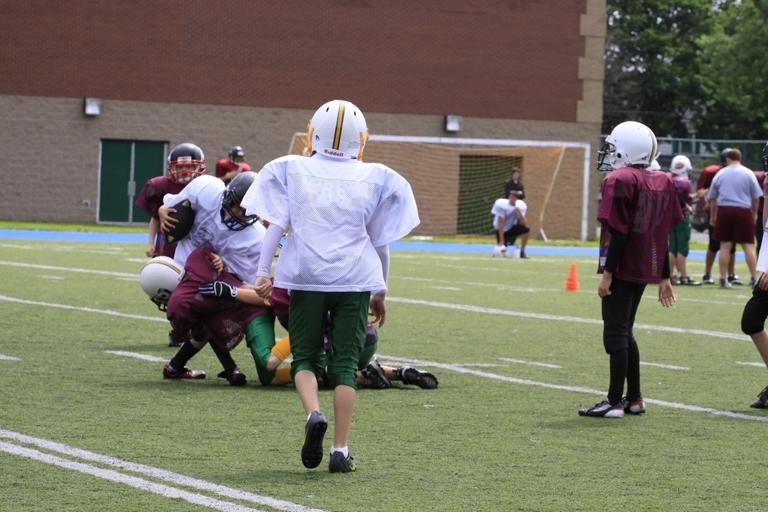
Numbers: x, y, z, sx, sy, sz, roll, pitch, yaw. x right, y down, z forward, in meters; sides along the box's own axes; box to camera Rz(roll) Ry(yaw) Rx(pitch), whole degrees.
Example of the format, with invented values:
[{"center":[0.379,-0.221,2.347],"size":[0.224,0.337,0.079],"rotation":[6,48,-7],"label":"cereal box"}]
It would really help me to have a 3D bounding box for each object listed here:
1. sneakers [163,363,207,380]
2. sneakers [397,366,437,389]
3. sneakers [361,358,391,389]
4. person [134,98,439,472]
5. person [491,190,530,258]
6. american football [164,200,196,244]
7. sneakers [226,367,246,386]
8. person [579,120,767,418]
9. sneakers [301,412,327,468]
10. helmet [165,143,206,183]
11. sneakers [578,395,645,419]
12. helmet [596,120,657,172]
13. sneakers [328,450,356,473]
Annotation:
[{"center":[-2.025,1.179,12.088],"size":[0.484,0.177,0.162],"rotation":[0,5,-19],"label":"sneakers"},{"center":[0.339,1.236,11.889],"size":[0.456,0.204,0.169],"rotation":[10,39,-4],"label":"sneakers"},{"center":[-0.092,1.228,11.866],"size":[0.148,0.197,0.440],"rotation":[0,3,34],"label":"sneakers"},{"center":[-0.420,0.234,10.153],"size":[1.189,3.070,1.045],"rotation":[-7,13,-37],"label":"person"},{"center":[2.940,-0.758,27.275],"size":[0.970,1.528,0.865],"rotation":[3,8,11],"label":"person"},{"center":[-2.106,-0.327,12.331],"size":[0.254,0.399,0.282],"rotation":[33,10,-37],"label":"american football"},{"center":[-1.485,1.233,11.873],"size":[0.122,0.147,0.218],"rotation":[-42,-14,-19],"label":"sneakers"},{"center":[2.355,0.131,11.348],"size":[0.708,2.773,1.001],"rotation":[8,12,30],"label":"person"},{"center":[-0.580,1.553,9.843],"size":[0.202,0.552,0.239],"rotation":[1,11,-2],"label":"sneakers"},{"center":[-2.260,-1.100,13.412],"size":[0.451,0.403,0.546],"rotation":[-1,0,-16],"label":"helmet"},{"center":[2.189,1.456,11.303],"size":[0.668,0.236,0.226],"rotation":[1,-5,-3],"label":"sneakers"},{"center":[2.369,-1.052,11.534],"size":[0.559,0.421,0.410],"rotation":[7,7,34],"label":"helmet"},{"center":[-0.359,1.743,9.898],"size":[0.119,0.123,0.298],"rotation":[1,-3,12],"label":"sneakers"}]
